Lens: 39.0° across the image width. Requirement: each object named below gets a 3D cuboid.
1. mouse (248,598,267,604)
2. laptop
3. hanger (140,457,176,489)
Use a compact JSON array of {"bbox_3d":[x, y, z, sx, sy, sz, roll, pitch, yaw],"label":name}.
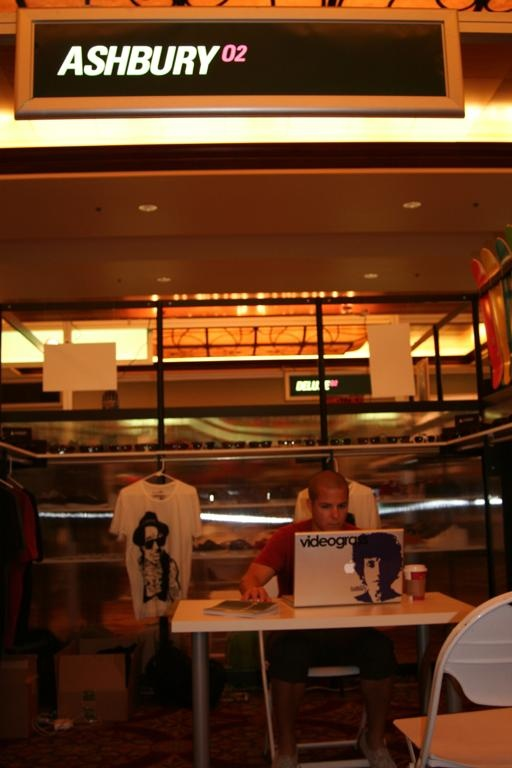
[{"bbox_3d":[0.004,0.704,2.332,0.041,0.010,0.037,1,-5,-4],"label":"mouse"},{"bbox_3d":[0.287,0.511,2.297,0.371,0.243,0.253,1,-6,-6],"label":"laptop"},{"bbox_3d":[-0.665,0.607,4.896,0.265,0.188,0.015,1,-6,-1],"label":"hanger"}]
